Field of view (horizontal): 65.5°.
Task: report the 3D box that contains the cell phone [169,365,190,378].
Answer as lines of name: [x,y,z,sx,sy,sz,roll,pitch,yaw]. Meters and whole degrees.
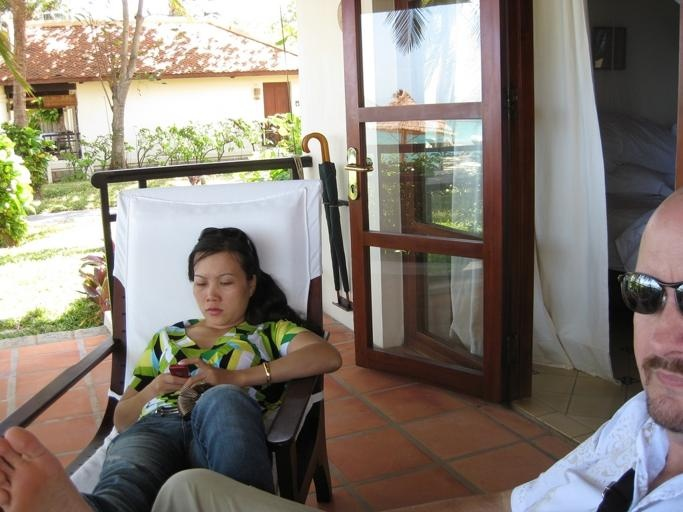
cell phone: [-0.573,0.406,1.864,0.050,0.087,0.009,4,47,-7]

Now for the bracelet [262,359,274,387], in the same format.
bracelet: [-0.269,0.427,1.942,0.062,0.060,0.060,-14,45,-21]
